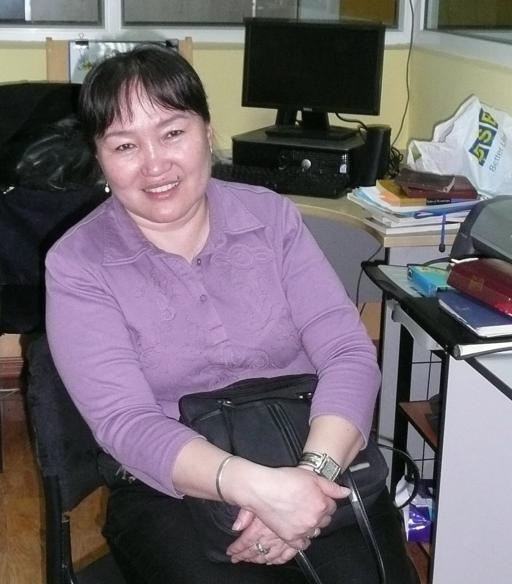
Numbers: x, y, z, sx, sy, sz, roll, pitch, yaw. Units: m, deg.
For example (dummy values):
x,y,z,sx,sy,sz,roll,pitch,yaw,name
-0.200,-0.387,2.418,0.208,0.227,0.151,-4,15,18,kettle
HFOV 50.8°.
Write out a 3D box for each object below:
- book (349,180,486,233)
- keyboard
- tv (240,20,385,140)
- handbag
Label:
x,y,z,sx,sy,sz,roll,pitch,yaw,name
0.381,-0.220,1.392,0.192,0.043,0.192,18,31,33,book
0.104,-0.390,1.852,0.295,0.063,0.277,6,17,12,keyboard
0.214,-0.816,2.029,0.722,0.477,0.200,6,31,13,tv
0.033,0.212,0.859,0.305,0.191,0.256,-6,14,-22,handbag
